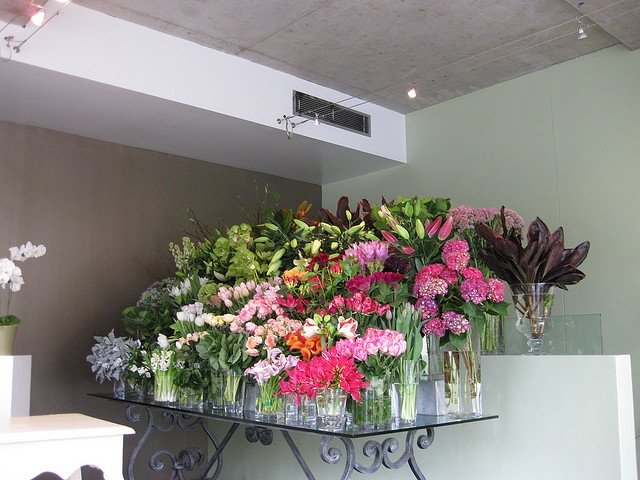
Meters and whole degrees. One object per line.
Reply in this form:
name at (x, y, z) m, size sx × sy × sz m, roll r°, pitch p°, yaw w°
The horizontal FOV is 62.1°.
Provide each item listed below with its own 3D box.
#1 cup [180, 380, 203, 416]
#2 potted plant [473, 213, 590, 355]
cup at (-0.655, 0.797, 2.681) m, size 0.118 × 0.138 × 0.125 m, roll 1°, pitch -15°, yaw 0°
potted plant at (0.984, 0.251, 2.561) m, size 0.516 × 0.616 × 0.534 m, roll -3°, pitch -11°, yaw 10°
